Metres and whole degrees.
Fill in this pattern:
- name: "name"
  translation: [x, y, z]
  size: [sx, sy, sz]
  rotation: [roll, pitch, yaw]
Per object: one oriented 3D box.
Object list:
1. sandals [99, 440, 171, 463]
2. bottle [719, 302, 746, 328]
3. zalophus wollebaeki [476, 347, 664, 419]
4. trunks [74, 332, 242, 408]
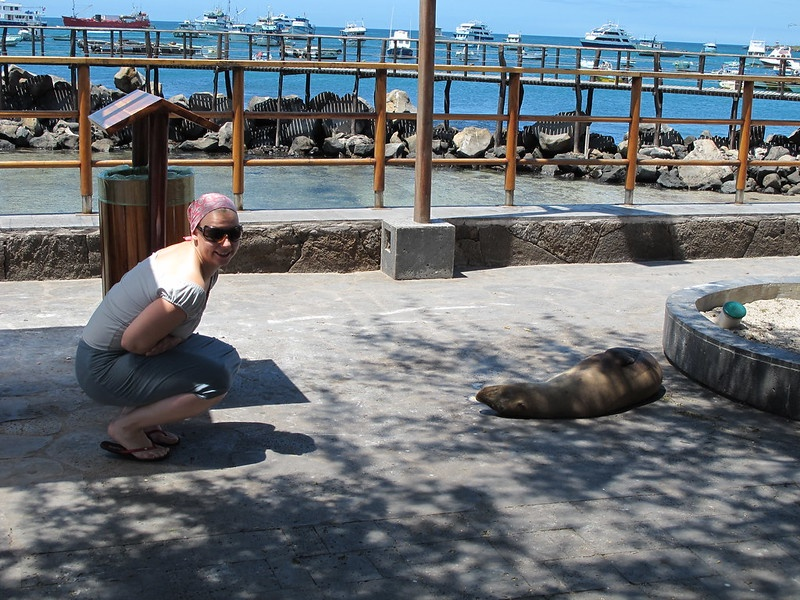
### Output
- name: "sandals"
  translation: [-1.337, 0.752, 3.590]
  size: [0.300, 0.034, 0.121]
  rotation: [4, 9, 15]
- name: "bottle"
  translation: [2.456, 0.115, 5.262]
  size: [0.149, 0.129, 0.140]
  rotation: [32, 56, 23]
- name: "zalophus wollebaeki"
  translation: [1.137, 0.534, 4.493]
  size: [1.191, 0.235, 0.426]
  rotation: [-8, 8, -18]
- name: "trunks"
  translation: [-1.185, 0.348, 3.509]
  size: [0.741, 0.183, 0.380]
  rotation: [0, 10, -6]
